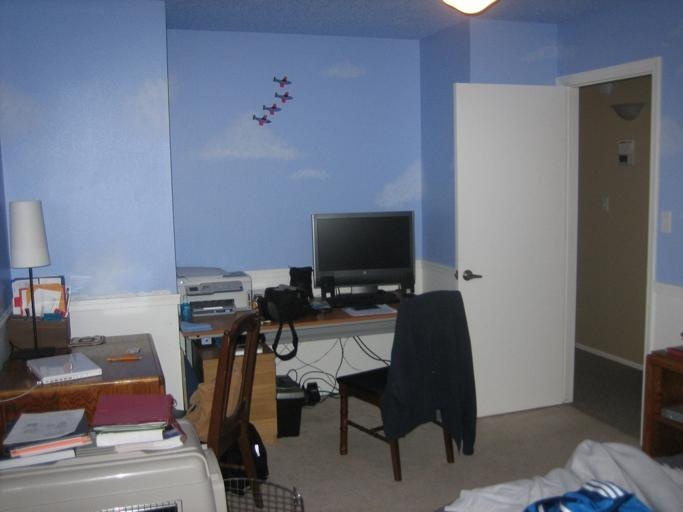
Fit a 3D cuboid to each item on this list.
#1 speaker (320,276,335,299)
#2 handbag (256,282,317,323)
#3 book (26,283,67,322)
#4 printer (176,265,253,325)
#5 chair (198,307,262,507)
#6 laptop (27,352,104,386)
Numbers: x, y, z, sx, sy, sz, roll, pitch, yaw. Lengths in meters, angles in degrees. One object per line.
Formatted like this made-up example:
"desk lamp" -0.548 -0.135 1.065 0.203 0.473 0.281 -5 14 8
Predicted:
"speaker" -0.104 0.239 4.220 0.112 0.166 0.097 -2 11 -4
"handbag" -0.406 0.328 3.953 0.313 0.230 0.326 -8 -1 34
"book" -1.718 0.278 3.253 0.205 0.213 0.050 -2 -3 -20
"printer" -0.900 0.209 3.965 0.462 0.332 0.329 -1 2 -25
"chair" -0.556 0.837 2.954 0.286 1.101 0.653 -3 11 -8
"laptop" -1.442 0.579 2.898 0.314 0.046 0.304 20 10 38
